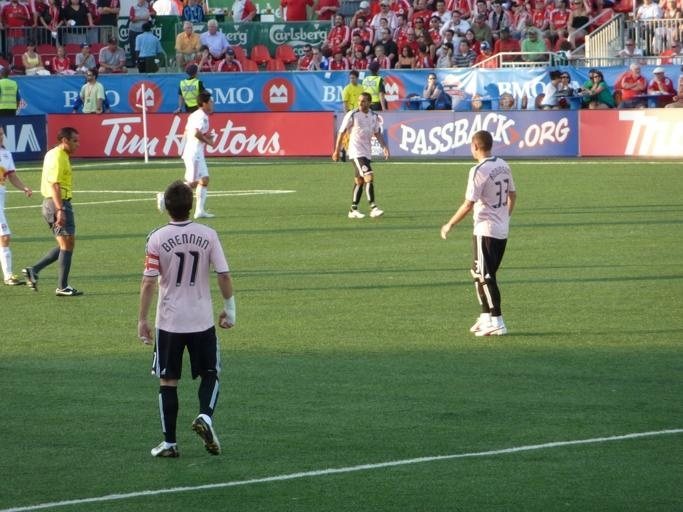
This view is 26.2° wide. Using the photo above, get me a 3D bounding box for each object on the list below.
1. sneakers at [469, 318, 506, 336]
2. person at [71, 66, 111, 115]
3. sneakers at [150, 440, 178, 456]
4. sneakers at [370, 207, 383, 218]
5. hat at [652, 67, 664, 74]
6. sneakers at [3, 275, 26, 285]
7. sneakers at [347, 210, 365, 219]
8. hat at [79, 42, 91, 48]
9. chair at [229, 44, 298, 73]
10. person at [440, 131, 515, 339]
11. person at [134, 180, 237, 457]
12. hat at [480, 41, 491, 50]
[{"bbox_3d":[2.184,1.021,21.432,0.605,0.267,0.196,1,4,16],"label":"sneakers"},{"bbox_3d":[-7.246,-4.794,42.765,0.964,1.321,0.910,-4,13,-8],"label":"person"},{"bbox_3d":[-2.189,2.376,18.371,0.327,0.143,0.159,3,4,6],"label":"sneakers"},{"bbox_3d":[0.703,-0.897,29.833,0.118,0.164,0.340,-34,10,-26],"label":"sneakers"},{"bbox_3d":[8.309,-4.855,38.490,0.193,0.107,0.279,3,11,32],"label":"hat"},{"bbox_3d":[-5.340,0.375,24.414,0.411,0.167,0.150,1,7,9],"label":"sneakers"},{"bbox_3d":[0.316,-0.857,29.912,0.374,0.151,0.137,0,9,8],"label":"sneakers"},{"bbox_3d":[-7.947,-6.570,45.909,0.337,0.153,0.212,2,6,42],"label":"hat"},{"bbox_3d":[-2.426,-6.298,47.126,2.103,0.620,0.716,-4,-32,-6],"label":"chair"},{"bbox_3d":[2.151,-0.346,21.449,0.722,2.912,0.855,9,17,38],"label":"person"},{"bbox_3d":[-1.951,0.780,18.279,1.122,3.329,1.054,1,14,11],"label":"person"},{"bbox_3d":[4.259,-6.201,43.338,0.295,0.218,0.261,2,13,14],"label":"hat"}]
